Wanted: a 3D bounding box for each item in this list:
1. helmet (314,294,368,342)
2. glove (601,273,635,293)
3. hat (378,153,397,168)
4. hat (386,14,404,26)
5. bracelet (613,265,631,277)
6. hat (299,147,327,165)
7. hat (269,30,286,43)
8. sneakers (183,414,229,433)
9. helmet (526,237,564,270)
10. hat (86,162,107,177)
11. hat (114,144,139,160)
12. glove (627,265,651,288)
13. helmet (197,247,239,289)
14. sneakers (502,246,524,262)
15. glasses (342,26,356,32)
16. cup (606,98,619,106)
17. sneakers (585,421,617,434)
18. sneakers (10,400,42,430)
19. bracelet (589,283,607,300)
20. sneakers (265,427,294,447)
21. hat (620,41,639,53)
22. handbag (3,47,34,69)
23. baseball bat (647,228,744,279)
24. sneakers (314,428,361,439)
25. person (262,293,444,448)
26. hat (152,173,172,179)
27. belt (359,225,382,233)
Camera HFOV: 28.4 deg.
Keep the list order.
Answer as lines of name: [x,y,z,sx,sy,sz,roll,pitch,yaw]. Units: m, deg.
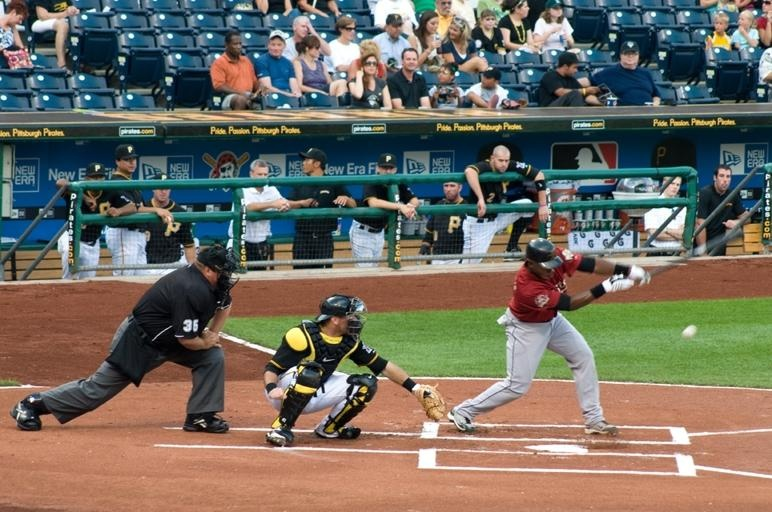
helmet: [-0.411,0.608,16.471,0.650,0.416,0.405,-1,6,4]
glove: [2.607,0.295,16.548,0.451,0.134,0.180,-10,-40,12]
hat: [0.038,-1.323,21.470,0.247,0.168,0.246,1,6,-6]
hat: [0.160,-3.768,24.601,0.194,0.180,0.233,-10,0,-21]
bracelet: [2.625,0.157,16.705,0.087,0.145,0.238,-9,-19,17]
hat: [-1.041,-1.371,21.191,0.451,0.204,0.253,20,7,-9]
hat: [-1.683,-3.409,23.684,0.293,0.116,0.406,3,5,0]
sneakers: [-1.947,1.805,16.667,0.522,0.194,0.195,0,10,0]
helmet: [1.713,-0.028,16.535,0.410,0.177,0.297,12,32,26]
hat: [-3.994,-1.177,20.849,0.239,0.144,0.303,0,0,-23]
hat: [-3.594,-1.410,20.824,0.254,0.151,0.349,-6,4,-42]
glove: [2.813,0.240,16.631,0.216,0.105,0.290,29,12,26]
helmet: [-1.748,0.090,16.603,0.552,0.382,0.390,7,12,1]
sneakers: [1.836,-0.032,21.835,0.248,0.240,0.640,1,3,-1]
glasses: [-0.606,-3.629,24.616,0.159,0.039,0.151,0,3,29]
cup: [3.696,-2.467,24.588,0.183,0.104,0.161,1,1,4]
sneakers: [2.387,1.871,16.780,0.379,0.136,0.137,-1,0,17]
sneakers: [-3.929,1.711,16.559,0.466,0.259,0.236,13,9,29]
bracelet: [2.327,0.381,16.544,0.171,0.129,0.175,-15,7,4]
sneakers: [-1.127,1.909,16.263,0.288,0.203,0.224,2,6,-6]
hat: [3.977,-3.347,24.537,0.294,0.161,0.359,1,-1,7]
handbag: [-5.752,-3.040,23.736,0.427,0.349,0.120,-3,-15,-37]
baseball bat: [4.518,-0.031,22.230,1.873,0.152,0.131,-21,20,-17]
sneakers: [-0.499,1.910,16.652,0.529,0.179,0.158,-2,6,1]
person: [-0.445,1.214,16.361,1.684,1.602,0.493,2,7,-4]
hat: [-3.216,-1.125,21.664,0.192,0.075,0.243,0,5,-9]
belt: [-0.189,-0.382,21.553,0.316,0.099,0.087,2,6,-3]
